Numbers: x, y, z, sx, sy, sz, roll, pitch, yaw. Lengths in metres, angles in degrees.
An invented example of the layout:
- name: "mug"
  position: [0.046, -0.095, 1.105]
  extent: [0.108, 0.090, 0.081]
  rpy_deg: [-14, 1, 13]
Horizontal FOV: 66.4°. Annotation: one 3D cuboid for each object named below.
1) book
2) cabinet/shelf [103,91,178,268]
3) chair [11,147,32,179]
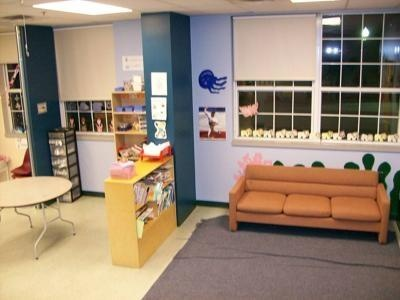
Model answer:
- name: "book"
  position: [-0.787, 0.846, 4.999]
  extent: [0.220, 0.782, 1.177]
  rpy_deg: [2, 15, 13]
- name: "cabinet/shelf"
  position: [-0.976, 0.503, 5.242]
  extent: [0.896, 3.136, 2.248]
  rpy_deg: [0, 15, 6]
- name: "chair"
  position: [-4.105, 0.302, 6.959]
  extent: [0.406, 0.636, 0.585]
  rpy_deg: [-14, 16, -38]
